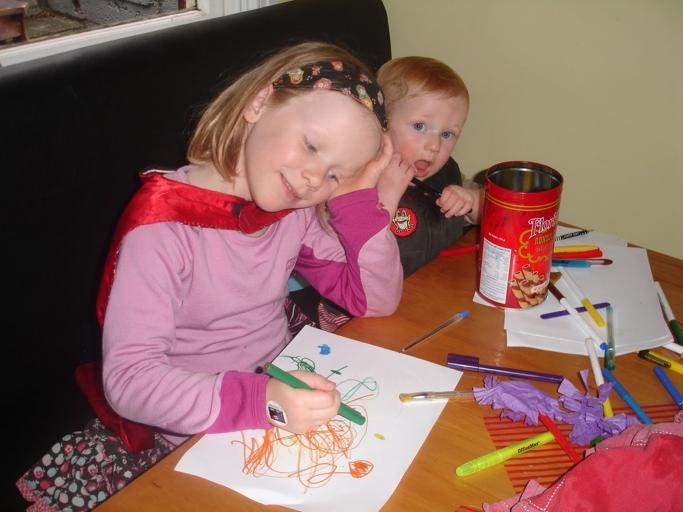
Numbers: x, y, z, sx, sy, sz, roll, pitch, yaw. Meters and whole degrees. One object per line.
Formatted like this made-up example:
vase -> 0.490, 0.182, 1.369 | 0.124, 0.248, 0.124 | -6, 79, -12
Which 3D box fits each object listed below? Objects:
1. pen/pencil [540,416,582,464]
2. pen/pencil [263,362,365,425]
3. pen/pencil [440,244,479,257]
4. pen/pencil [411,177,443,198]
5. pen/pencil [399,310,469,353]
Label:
pen/pencil -> 0.303, 0.254, 0.766 | 0.018, 0.015, 0.092 | -21, 40, -3
pen/pencil -> -0.041, 0.200, 0.788 | 0.137, 0.024, 0.020 | 31, 20, -9
pen/pencil -> 0.240, -0.010, 1.119 | 0.061, 0.010, 0.012 | -12, -6, -11
pen/pencil -> 0.204, -0.165, 1.354 | 0.071, 0.013, 0.008 | 34, 55, -2
pen/pencil -> 0.154, 0.130, 0.926 | 0.117, 0.014, 0.014 | -28, 7, -32
